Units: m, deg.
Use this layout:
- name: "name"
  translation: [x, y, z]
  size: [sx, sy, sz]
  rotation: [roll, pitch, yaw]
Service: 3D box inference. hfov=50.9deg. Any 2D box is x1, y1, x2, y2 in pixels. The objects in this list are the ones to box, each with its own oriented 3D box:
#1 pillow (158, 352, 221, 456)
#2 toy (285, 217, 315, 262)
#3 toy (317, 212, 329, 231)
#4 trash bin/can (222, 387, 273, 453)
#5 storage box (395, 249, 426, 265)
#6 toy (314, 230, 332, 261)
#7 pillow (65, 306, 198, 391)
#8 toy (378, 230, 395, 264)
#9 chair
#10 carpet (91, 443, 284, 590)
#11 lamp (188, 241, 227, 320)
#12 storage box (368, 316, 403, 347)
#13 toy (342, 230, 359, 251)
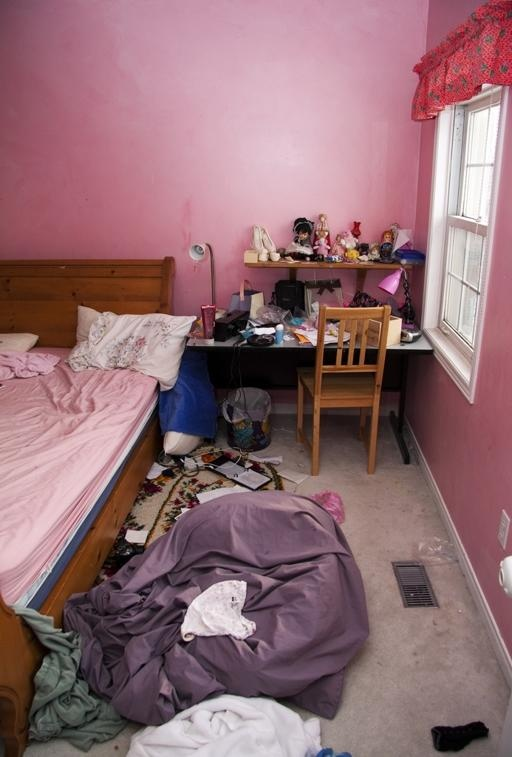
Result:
- name: "pillow"
  translation: [-0.409, 0.128, 3.045]
  size: [0.142, 0.515, 0.438]
  rotation: [-10, -6, 44]
- name: "toy"
  translation: [0.267, -0.847, 3.260]
  size: [0.170, 0.238, 0.212]
  rotation: [2, 20, 4]
- name: "toy"
  translation: [0.406, -0.951, 3.274]
  size: [0.075, 0.098, 0.114]
  rotation: [3, 20, 6]
- name: "trash bin/can"
  translation: [-0.051, 0.217, 3.281]
  size: [0.332, 0.342, 0.329]
  rotation: [-10, 25, -24]
- name: "storage box"
  translation: [0.897, -0.717, 3.160]
  size: [0.157, 0.078, 0.301]
  rotation: [5, 21, 10]
- name: "toy"
  translation: [0.403, -0.811, 3.260]
  size: [0.104, 0.163, 0.228]
  rotation: [3, 20, 7]
- name: "pillow"
  translation: [-0.731, -0.174, 3.102]
  size: [0.678, 0.345, 0.408]
  rotation: [6, 21, 13]
- name: "toy"
  translation: [0.786, -0.802, 3.238]
  size: [0.081, 0.174, 0.189]
  rotation: [5, 20, 12]
- name: "chair"
  translation: [0.474, -0.023, 3.054]
  size: [0.491, 0.965, 0.823]
  rotation: [4, 20, 11]
- name: "carpet"
  translation: [-0.395, 0.552, 2.699]
  size: [0.655, 0.098, 1.223]
  rotation: [19, 28, 40]
- name: "lamp"
  translation: [-0.291, -0.602, 3.257]
  size: [0.205, 0.439, 0.489]
  rotation: [-2, 20, -6]
- name: "storage box"
  translation: [0.683, -0.242, 2.840]
  size: [0.191, 0.151, 0.145]
  rotation: [-3, 19, -6]
- name: "toy"
  translation: [0.565, -0.834, 3.261]
  size: [0.081, 0.112, 0.038]
  rotation: [-2, -18, 0]
